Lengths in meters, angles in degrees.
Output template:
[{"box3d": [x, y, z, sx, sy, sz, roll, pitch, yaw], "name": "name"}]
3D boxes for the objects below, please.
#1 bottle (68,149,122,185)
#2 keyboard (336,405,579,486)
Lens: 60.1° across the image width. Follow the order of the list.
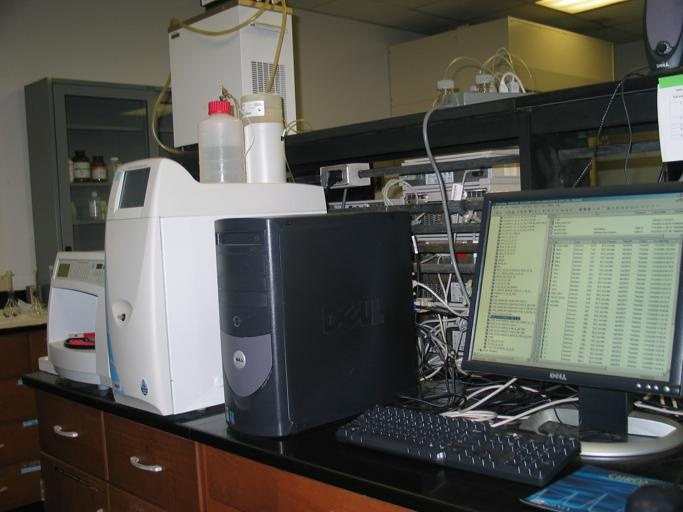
[{"box3d": [-1.677, -0.601, 3.994, 0.278, 0.276, 0.168, -2, 4, -43], "name": "bottle"}, {"box3d": [0.228, 0.385, 1.230, 0.491, 0.055, 0.150, 2, 13, 26], "name": "keyboard"}]
